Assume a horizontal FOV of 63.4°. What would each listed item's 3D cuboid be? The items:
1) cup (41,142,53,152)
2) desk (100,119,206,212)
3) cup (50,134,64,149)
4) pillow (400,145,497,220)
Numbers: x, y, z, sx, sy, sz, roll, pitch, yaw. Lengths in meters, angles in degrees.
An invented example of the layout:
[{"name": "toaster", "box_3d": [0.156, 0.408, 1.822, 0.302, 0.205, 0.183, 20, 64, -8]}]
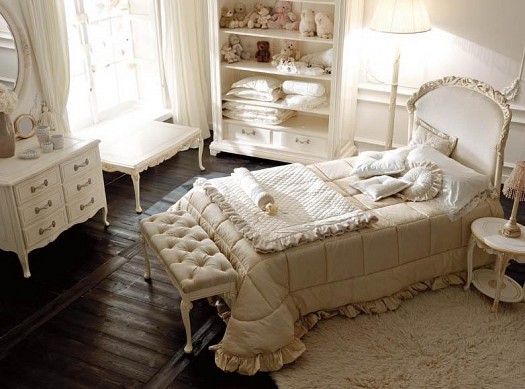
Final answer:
[{"name": "cup", "box_3d": [-1.855, -0.415, 3.684, 0.083, 0.064, 0.082, 2, 12, -1]}, {"name": "desk", "box_3d": [-1.219, -0.529, 4.666, 1.025, 0.478, 1.055, 18, 34, 29]}, {"name": "cup", "box_3d": [-1.802, -0.460, 3.744, 0.125, 0.111, 0.102, 9, 22, 16]}, {"name": "pillow", "box_3d": [1.532, -0.118, 3.593, 0.464, 0.155, 0.624, -41, 51, -15]}]
